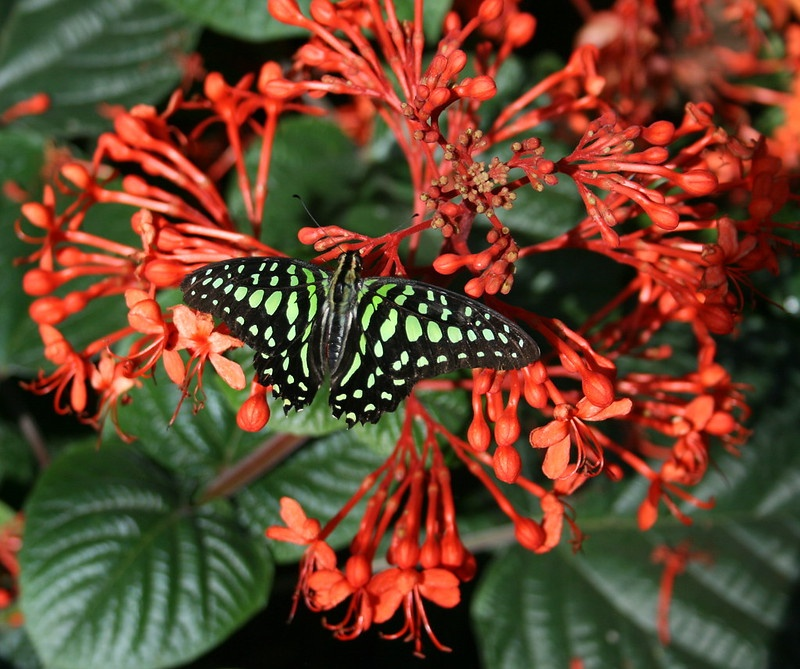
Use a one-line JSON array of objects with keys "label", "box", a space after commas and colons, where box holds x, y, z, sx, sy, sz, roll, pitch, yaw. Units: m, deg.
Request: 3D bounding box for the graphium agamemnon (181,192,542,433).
[{"label": "graphium agamemnon", "box": [-0.112, 0.008, 2.136, 1.056, 0.479, 0.115, 11, 22, 9]}]
